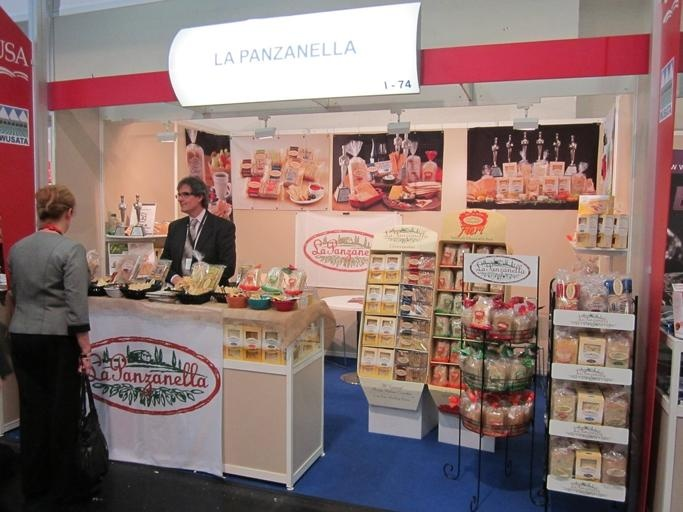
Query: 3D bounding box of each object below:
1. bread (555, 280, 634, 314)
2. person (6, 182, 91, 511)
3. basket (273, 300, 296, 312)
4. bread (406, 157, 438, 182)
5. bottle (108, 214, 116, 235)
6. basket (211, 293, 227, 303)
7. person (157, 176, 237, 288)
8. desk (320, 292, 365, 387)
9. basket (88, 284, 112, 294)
[{"bbox_3d":[1.805,0.273,3.905,0.530,0.246,0.288,4,10,15],"label":"bread"},{"bbox_3d":[-2.165,0.835,4.096,0.585,2.031,0.351,-1,9,-12],"label":"person"},{"bbox_3d":[-0.444,0.373,4.339,0.186,0.101,0.157,0,10,-7],"label":"basket"},{"bbox_3d":[1.020,-1.088,6.861,0.254,0.248,0.110,6,16,25],"label":"bread"},{"bbox_3d":[-2.749,-0.386,6.588,0.099,0.244,0.203,-2,10,-18],"label":"bottle"},{"bbox_3d":[-1.010,0.343,4.555,0.097,0.063,0.092,3,0,-11],"label":"basket"},{"bbox_3d":[-1.404,-0.262,5.229,0.740,0.949,0.458,1,9,-2],"label":"person"},{"bbox_3d":[0.068,0.959,6.583,0.844,0.960,0.850,-1,-4,3],"label":"desk"},{"bbox_3d":[-2.071,0.281,4.702,0.161,0.067,0.081,3,-2,-13],"label":"basket"}]
